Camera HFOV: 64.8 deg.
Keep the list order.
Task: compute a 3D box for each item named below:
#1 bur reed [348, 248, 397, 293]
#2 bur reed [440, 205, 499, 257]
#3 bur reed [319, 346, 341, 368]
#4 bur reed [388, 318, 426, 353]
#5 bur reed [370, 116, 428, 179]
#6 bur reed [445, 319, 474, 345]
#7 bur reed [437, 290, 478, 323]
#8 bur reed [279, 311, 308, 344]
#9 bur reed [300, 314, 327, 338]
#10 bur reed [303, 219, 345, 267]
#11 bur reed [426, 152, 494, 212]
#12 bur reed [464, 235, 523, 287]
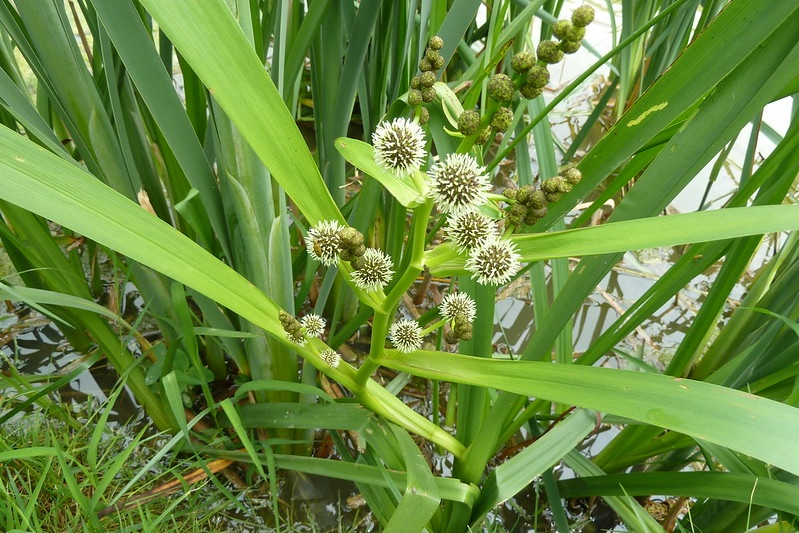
[{"bbox_3d":[-0.058,0.024,1.453,0.090,0.084,0.083,22,79,-21],"label":"bur reed"},{"bbox_3d":[0.137,-0.071,1.351,0.068,0.088,0.086,52,46,0],"label":"bur reed"},{"bbox_3d":[-0.183,0.238,1.653,0.048,0.020,0.048,15,97,-4],"label":"bur reed"},{"bbox_3d":[0.015,0.174,1.599,0.078,0.031,0.082,-10,93,-5],"label":"bur reed"},{"bbox_3d":[0.009,-0.239,1.371,0.117,0.108,0.115,-17,40,-24],"label":"bur reed"},{"bbox_3d":[0.154,0.166,1.569,0.052,0.071,0.035,4,85,-10],"label":"bur reed"},{"bbox_3d":[0.150,0.104,1.581,0.079,0.049,0.082,-9,84,4],"label":"bur reed"},{"bbox_3d":[-0.264,0.152,1.550,0.053,0.094,0.067,-22,54,-27],"label":"bur reed"},{"bbox_3d":[-0.229,0.154,1.626,0.080,0.031,0.083,1,86,-19],"label":"bur reed"},{"bbox_3d":[-0.168,-0.060,1.479,0.097,0.070,0.100,-26,70,-6],"label":"bur reed"},{"bbox_3d":[0.120,-0.167,1.295,0.118,0.120,0.112,5,84,10],"label":"bur reed"},{"bbox_3d":[0.208,0.000,1.414,0.107,0.068,0.112,-26,91,0],"label":"bur reed"}]
